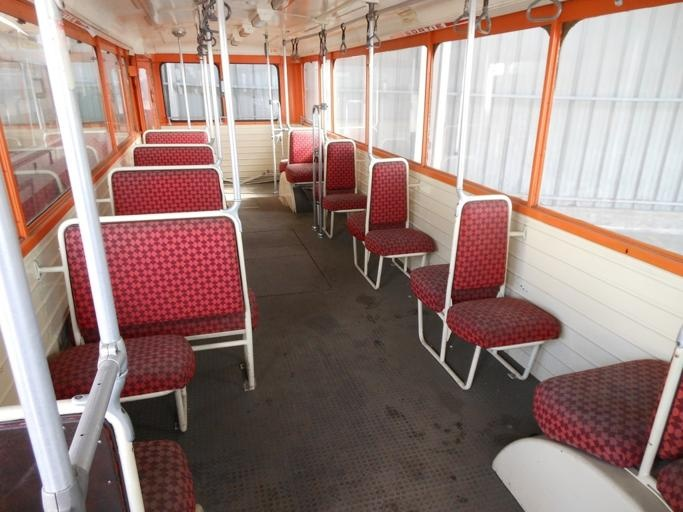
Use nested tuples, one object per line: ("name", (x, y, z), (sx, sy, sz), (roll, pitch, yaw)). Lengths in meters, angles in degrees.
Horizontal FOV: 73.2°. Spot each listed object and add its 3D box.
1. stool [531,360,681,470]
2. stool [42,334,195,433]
("stool", (1.489, 0.809, 2.457), (0.722, 0.161, 0.504), (-11, 22, -11))
("stool", (-1.318, 0.692, 2.843), (0.815, 0.441, 0.520), (-1, 21, -14))
